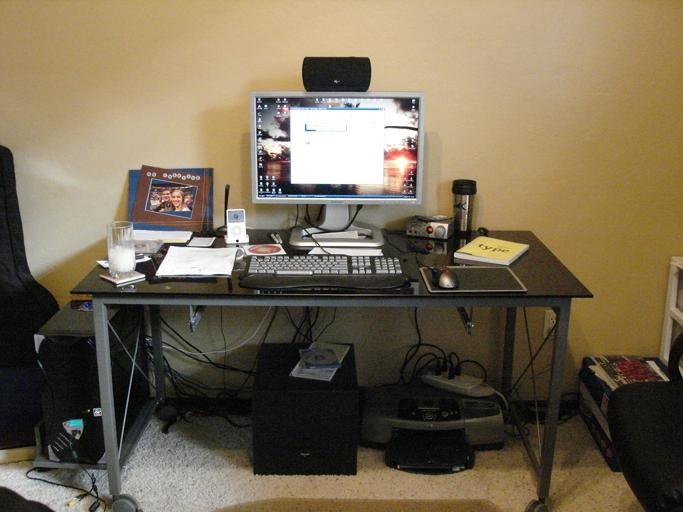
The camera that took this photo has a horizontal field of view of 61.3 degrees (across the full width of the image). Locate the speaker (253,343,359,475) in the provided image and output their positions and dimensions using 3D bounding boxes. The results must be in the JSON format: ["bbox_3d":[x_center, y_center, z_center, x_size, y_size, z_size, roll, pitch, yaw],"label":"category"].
[{"bbox_3d":[-0.154,0.675,2.599,0.441,0.439,0.466,0,14,-1],"label":"speaker"}]

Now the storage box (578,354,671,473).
[{"bbox_3d":[1.316,0.692,2.581,0.390,0.319,0.507,3,13,13],"label":"storage box"}]

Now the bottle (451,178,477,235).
[{"bbox_3d":[0.541,-0.212,2.557,0.096,0.243,0.090,0,11,0],"label":"bottle"}]

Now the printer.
[{"bbox_3d":[0.333,0.714,2.705,0.616,0.288,0.674,1,16,-5],"label":"printer"}]

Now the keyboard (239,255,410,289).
[{"bbox_3d":[-0.064,0.064,2.131,0.271,0.020,0.189,4,18,-4],"label":"keyboard"}]

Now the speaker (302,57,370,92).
[{"bbox_3d":[-0.020,-0.743,2.354,0.272,0.119,0.041,1,12,4],"label":"speaker"}]
